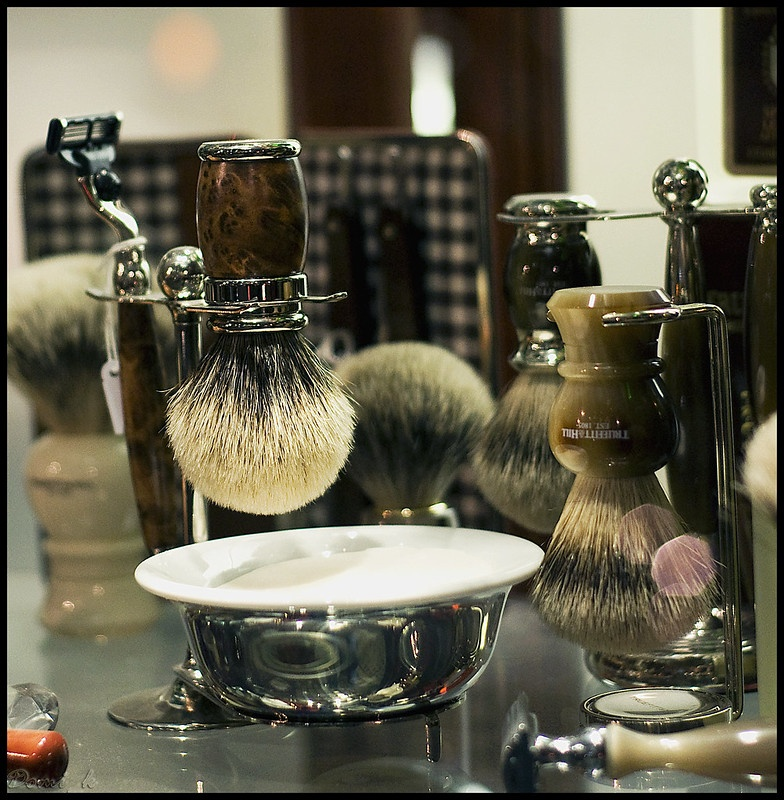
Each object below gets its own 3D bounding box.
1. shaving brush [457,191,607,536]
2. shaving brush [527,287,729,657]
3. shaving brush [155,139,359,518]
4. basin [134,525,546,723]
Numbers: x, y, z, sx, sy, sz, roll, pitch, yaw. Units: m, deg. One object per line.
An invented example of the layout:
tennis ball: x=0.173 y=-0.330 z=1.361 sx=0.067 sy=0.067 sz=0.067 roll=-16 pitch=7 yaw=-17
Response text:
shaving brush: x=0.108 y=-0.015 z=0.697 sx=0.106 sy=0.236 sz=0.105 roll=3 pitch=8 yaw=43
shaving brush: x=0.122 y=0.043 z=0.543 sx=0.102 sy=0.203 sz=0.077 roll=-1 pitch=12 yaw=13
shaving brush: x=-0.075 y=-0.039 z=0.560 sx=0.104 sy=0.198 sz=0.090 roll=-6 pitch=12 yaw=-12
basin: x=-0.026 y=0.115 z=0.544 sx=0.206 sy=0.086 sz=0.152 roll=-6 pitch=12 yaw=-9
